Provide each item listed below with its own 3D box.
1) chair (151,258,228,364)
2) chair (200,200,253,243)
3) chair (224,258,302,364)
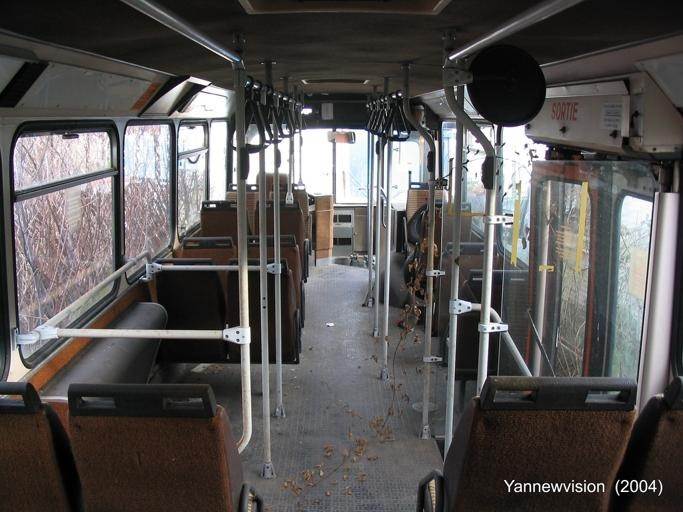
[{"bbox_3d":[-1.559,0.622,5.674,0.753,1.084,0.504,-1,12,-8],"label":"chair"},{"bbox_3d":[-1.829,-0.522,8.247,0.594,0.632,0.429,2,12,4],"label":"chair"},{"bbox_3d":[-0.747,0.584,5.295,0.738,1.162,0.660,-2,12,-12],"label":"chair"}]
